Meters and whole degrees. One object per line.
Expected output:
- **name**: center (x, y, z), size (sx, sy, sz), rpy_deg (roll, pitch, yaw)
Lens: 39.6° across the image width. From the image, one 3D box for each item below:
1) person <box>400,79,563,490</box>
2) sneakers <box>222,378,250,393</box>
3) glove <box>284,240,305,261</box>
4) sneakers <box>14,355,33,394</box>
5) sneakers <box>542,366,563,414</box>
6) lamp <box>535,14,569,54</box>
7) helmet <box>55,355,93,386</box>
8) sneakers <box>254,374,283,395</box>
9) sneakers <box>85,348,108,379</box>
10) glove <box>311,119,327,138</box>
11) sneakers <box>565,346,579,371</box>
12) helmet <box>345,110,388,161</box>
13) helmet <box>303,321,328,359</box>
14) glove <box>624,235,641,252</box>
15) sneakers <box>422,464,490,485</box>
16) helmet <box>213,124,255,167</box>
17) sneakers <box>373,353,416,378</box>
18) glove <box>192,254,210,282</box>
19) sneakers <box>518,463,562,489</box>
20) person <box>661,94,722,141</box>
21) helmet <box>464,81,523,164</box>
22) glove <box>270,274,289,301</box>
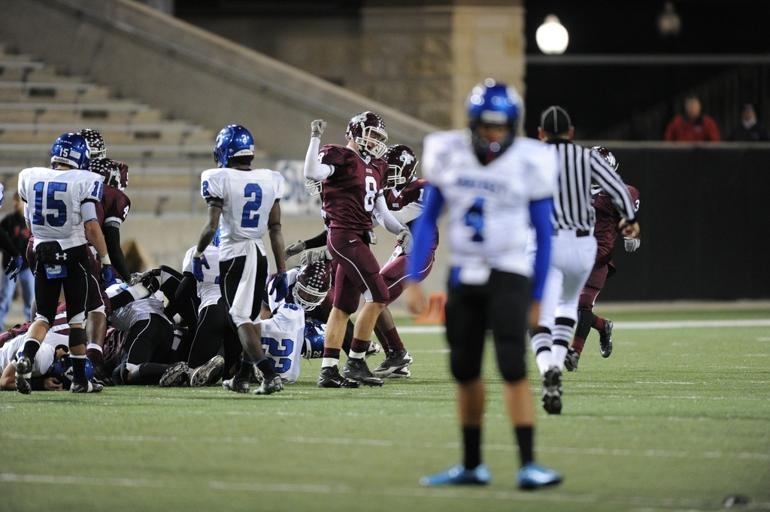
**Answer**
- **person**: center (0.774, 0.216, 8.190), size (1.141, 3.095, 0.612), rpy_deg (0, -4, 5)
- **sneakers**: center (-1.532, 1.311, 10.914), size (0.309, 0.135, 0.113), rpy_deg (9, 8, 24)
- **glove**: center (-1.008, -0.038, 11.568), size (0.214, 0.080, 0.152), rpy_deg (-12, 24, 27)
- **sneakers**: center (-3.535, 1.159, 10.534), size (0.158, 0.420, 0.214), rpy_deg (-1, 11, -9)
- **sneakers**: center (1.523, 1.231, 9.792), size (0.169, 0.430, 0.213), rpy_deg (2, -10, -1)
- **lamp**: center (3.299, -4.432, 21.263), size (0.545, 0.797, 0.671), rpy_deg (0, -3, 5)
- **helmet**: center (-3.225, 1.194, 10.955), size (0.372, 0.338, 0.276), rpy_deg (-5, 19, -45)
- **sneakers**: center (-1.215, 1.301, 10.710), size (0.387, 0.172, 0.134), rpy_deg (-3, 5, 31)
- **sneakers**: center (-2.984, 1.120, 11.150), size (0.121, 0.296, 0.196), rpy_deg (-16, 1, -23)
- **glove**: center (-0.666, -1.258, 10.573), size (0.109, 0.178, 0.261), rpy_deg (1, -3, -1)
- **sneakers**: center (2.055, 1.173, 11.983), size (0.114, 0.155, 0.332), rpy_deg (10, -39, 33)
- **helmet**: center (-0.240, -1.273, 11.408), size (0.507, 0.468, 0.456), rpy_deg (13, 7, 33)
- **helmet**: center (-0.754, 0.951, 12.080), size (0.404, 0.383, 0.306), rpy_deg (0, -14, 16)
- **glove**: center (3.105, -0.156, 13.473), size (0.227, 0.114, 0.280), rpy_deg (2, -34, -6)
- **sneakers**: center (0.537, 1.689, 8.251), size (0.520, 0.175, 0.179), rpy_deg (3, -15, 0)
- **helmet**: center (-1.534, -1.098, 10.795), size (0.351, 0.481, 0.336), rpy_deg (1, -4, -14)
- **sneakers**: center (0.159, 1.252, 12.041), size (0.562, 0.265, 0.182), rpy_deg (2, -5, -15)
- **glove**: center (-1.946, 0.133, 11.081), size (0.198, 0.257, 0.080), rpy_deg (-12, -7, 40)
- **sneakers**: center (1.132, 1.642, 7.955), size (0.314, 0.158, 0.131), rpy_deg (0, -40, 25)
- **person**: center (6.131, -2.579, 21.007), size (0.938, 0.868, 1.984), rpy_deg (-2, -4, 36)
- **helmet**: center (0.825, -1.063, 8.224), size (0.475, 0.564, 0.602), rpy_deg (3, 17, 2)
- **glove**: center (-1.105, 0.324, 11.192), size (0.209, 0.264, 0.107), rpy_deg (6, 11, -15)
